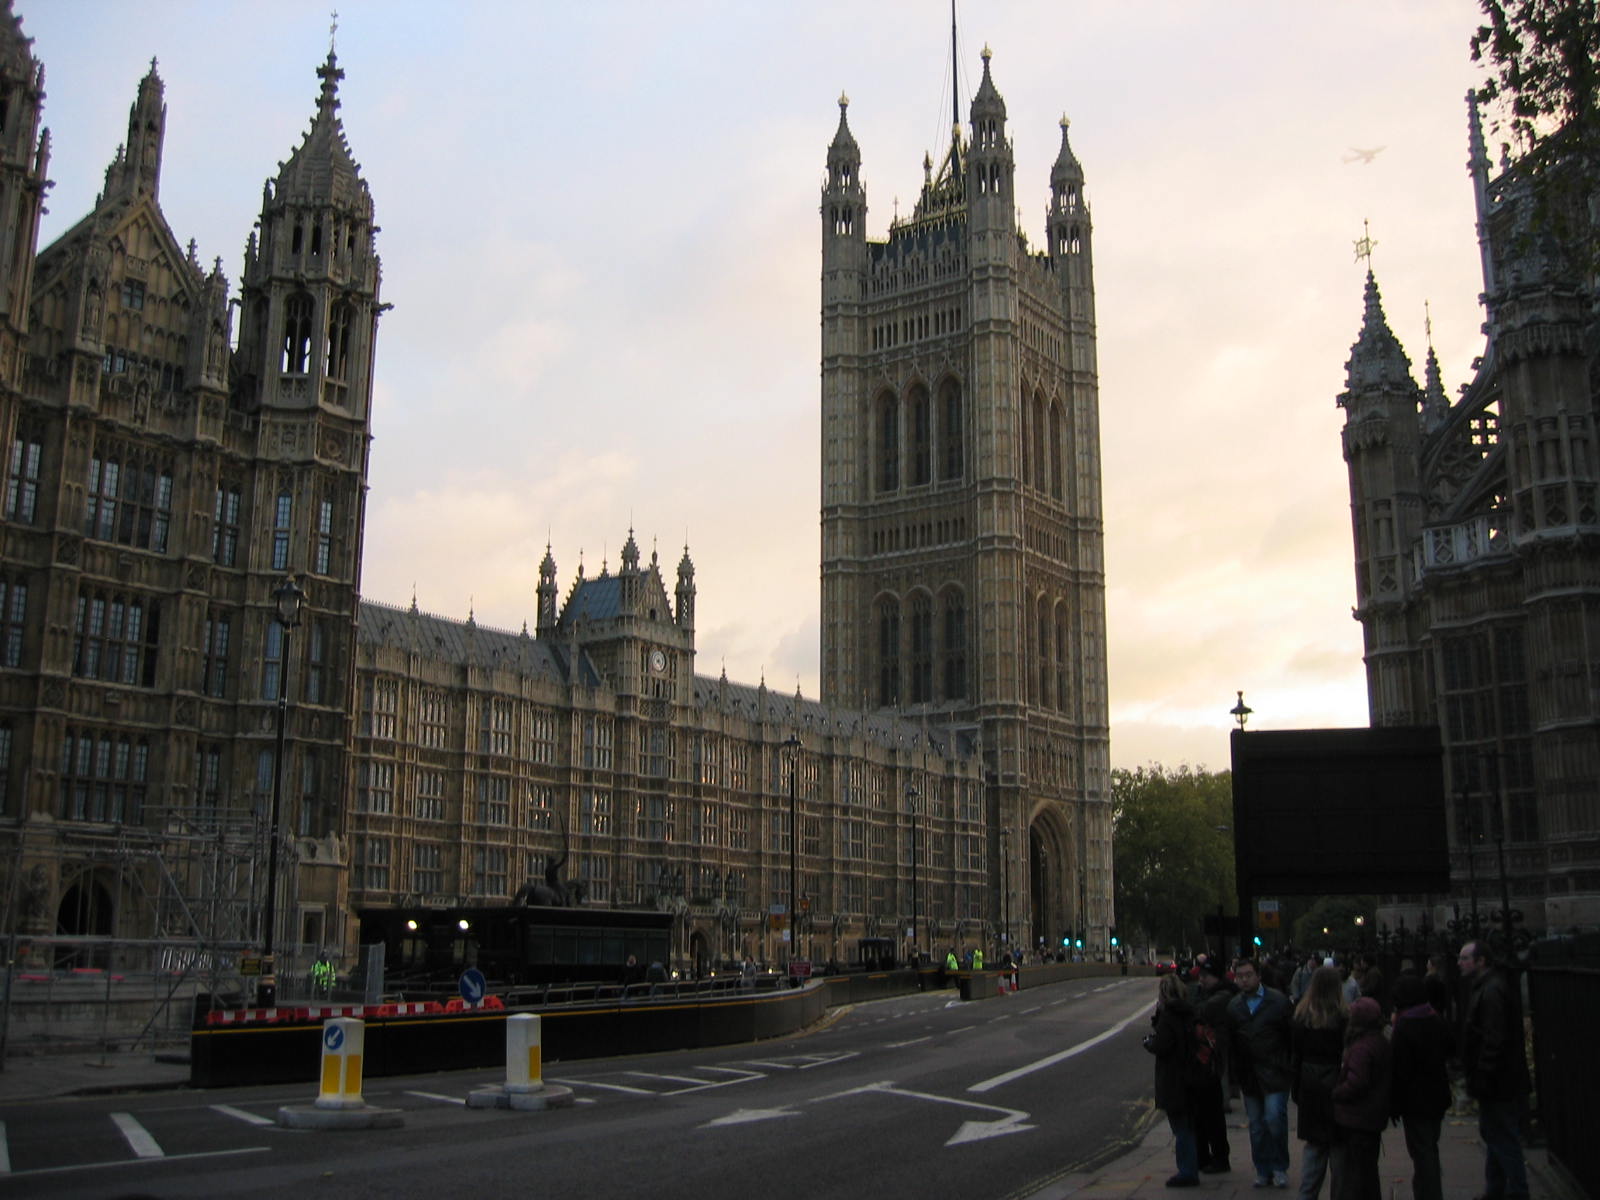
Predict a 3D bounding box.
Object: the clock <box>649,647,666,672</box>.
[{"bbox_3d":[-7.147,2.955,84.458,0.146,1.196,1.115,-6,-1,29],"label":"clock"}]
